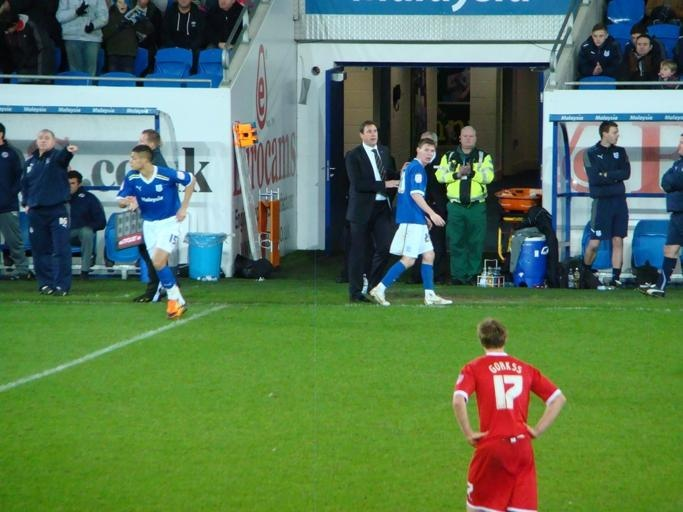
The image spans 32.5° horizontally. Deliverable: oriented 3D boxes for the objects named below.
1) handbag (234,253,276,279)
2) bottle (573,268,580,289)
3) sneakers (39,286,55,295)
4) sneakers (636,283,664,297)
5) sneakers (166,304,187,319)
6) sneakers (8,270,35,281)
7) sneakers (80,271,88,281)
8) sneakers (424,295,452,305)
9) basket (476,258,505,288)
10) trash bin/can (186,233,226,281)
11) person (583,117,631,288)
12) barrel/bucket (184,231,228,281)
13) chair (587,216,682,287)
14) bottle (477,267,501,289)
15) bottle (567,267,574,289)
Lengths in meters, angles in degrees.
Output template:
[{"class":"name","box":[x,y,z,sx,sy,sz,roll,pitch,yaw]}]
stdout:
[{"class":"handbag","box":[-1.247,0.153,16.600,0.401,0.187,0.302,11,-3,-37]},{"class":"bottle","box":[3.142,0.290,15.704,0.106,0.257,0.051,-1,7,-2]},{"class":"sneakers","box":[-3.803,0.444,15.084,0.233,0.114,0.092,-1,13,6]},{"class":"sneakers","box":[3.957,0.441,14.959,0.286,0.134,0.111,20,17,39]},{"class":"sneakers","box":[-1.916,0.635,13.485,0.114,0.171,0.236,1,8,-2]},{"class":"sneakers","box":[-4.459,0.277,16.257,0.249,0.137,0.162,-7,5,-5]},{"class":"sneakers","box":[-3.586,0.264,16.371,0.096,0.117,0.107,20,19,36]},{"class":"sneakers","box":[1.177,0.547,14.331,0.345,0.164,0.131,-1,6,-7]},{"class":"basket","box":[2.058,0.247,16.175,0.386,0.480,0.337,0,-2,-22]},{"class":"trash bin/can","box":[-1.904,0.000,16.263,0.565,0.712,0.576,0,3,-16]},{"class":"person","box":[3.458,-0.662,15.390,0.602,2.227,0.532,1,7,11]},{"class":"barrel/bucket","box":[-1.887,0.000,16.260,0.552,0.738,0.598,0,3,0]},{"class":"chair","box":[4.073,-0.073,16.212,0.864,1.344,1.082,2,0,11]},{"class":"bottle","box":[2.015,0.296,15.997,0.252,0.285,0.271,0,1,35]},{"class":"bottle","box":[3.086,0.294,15.704,0.107,0.249,0.051,1,7,10]}]
